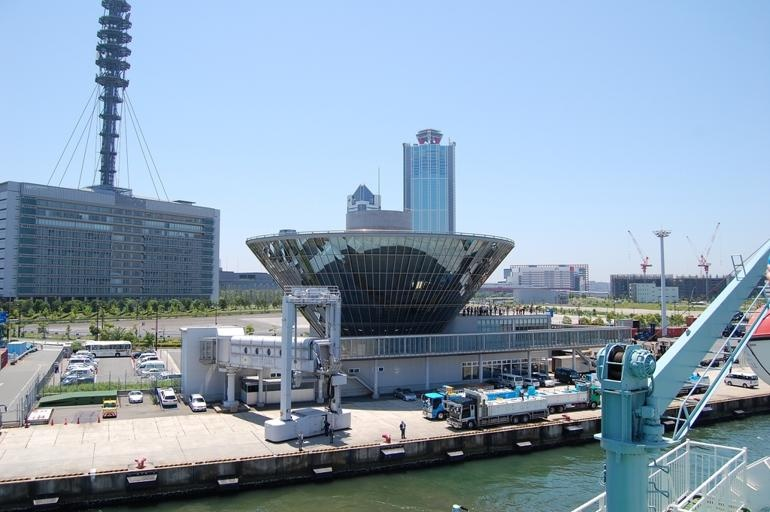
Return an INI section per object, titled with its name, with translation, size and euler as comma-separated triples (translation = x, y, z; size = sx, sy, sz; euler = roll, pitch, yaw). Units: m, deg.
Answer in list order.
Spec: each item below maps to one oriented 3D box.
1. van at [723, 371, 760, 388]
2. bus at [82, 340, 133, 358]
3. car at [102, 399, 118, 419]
[van]
translation = 49.101, 16.978, 98.916
size = 3.254, 1.904, 4.130
euler = -2, 15, -13
[bus]
translation = -48.367, 16.150, 126.135
size = 9.084, 2.572, 3.012
euler = 3, -5, -13
[car]
translation = -32.008, 17.731, 83.769
size = 1.401, 1.363, 2.368
euler = 0, 10, -20
